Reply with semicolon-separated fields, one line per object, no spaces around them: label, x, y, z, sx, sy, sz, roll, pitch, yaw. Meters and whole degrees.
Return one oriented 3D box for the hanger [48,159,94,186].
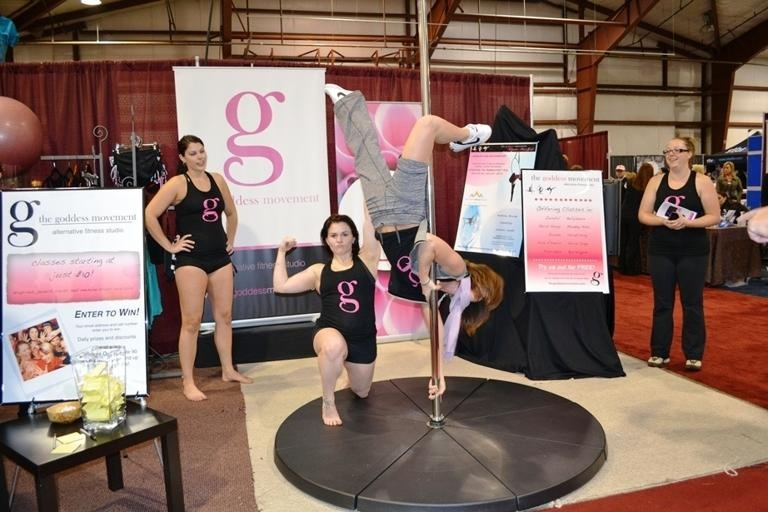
hanger;-3.349;-0.879;6.995;0.312;0.211;0.023;-1;-18;-10

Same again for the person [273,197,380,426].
person;-0.460;0.392;5.433;0.734;1.851;0.797;-2;2;-33

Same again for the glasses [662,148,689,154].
glasses;2.707;-0.966;6.077;0.195;0.051;0.107;7;13;32

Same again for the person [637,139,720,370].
person;2.837;-0.073;6.431;0.769;2.212;0.532;0;1;12

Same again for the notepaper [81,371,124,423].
notepaper;-1.830;0.907;4.276;0.266;0.329;0.133;-5;10;-28

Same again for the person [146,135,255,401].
person;-1.678;0.055;6.102;0.793;2.362;0.557;-4;2;-42

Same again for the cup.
cup;-1.873;0.879;4.356;0.270;0.491;0.297;-2;6;0

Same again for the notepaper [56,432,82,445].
notepaper;-2.013;1.172;4.223;0.184;0.030;0.104;-2;11;-11
